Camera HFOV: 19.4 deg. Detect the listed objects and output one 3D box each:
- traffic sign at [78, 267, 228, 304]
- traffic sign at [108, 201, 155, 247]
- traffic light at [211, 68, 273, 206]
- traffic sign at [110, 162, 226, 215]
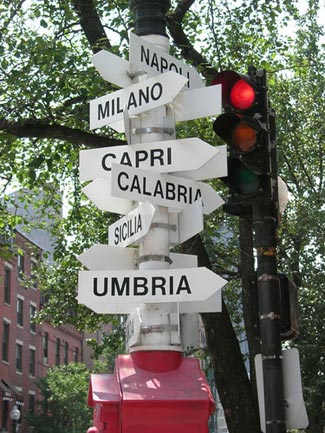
[{"bbox_3d":[-0.135,0.674,9.459,1.434,0.330,0.162,-3,-17,3],"label":"traffic sign"},{"bbox_3d":[-0.394,0.082,9.810,0.136,0.375,0.981,2,7,19],"label":"traffic sign"},{"bbox_3d":[0.796,-0.859,9.834,0.556,1.431,0.296,-3,-17,5],"label":"traffic light"},{"bbox_3d":[-0.024,-0.282,9.846,1.395,0.399,0.012,13,22,32],"label":"traffic sign"}]
